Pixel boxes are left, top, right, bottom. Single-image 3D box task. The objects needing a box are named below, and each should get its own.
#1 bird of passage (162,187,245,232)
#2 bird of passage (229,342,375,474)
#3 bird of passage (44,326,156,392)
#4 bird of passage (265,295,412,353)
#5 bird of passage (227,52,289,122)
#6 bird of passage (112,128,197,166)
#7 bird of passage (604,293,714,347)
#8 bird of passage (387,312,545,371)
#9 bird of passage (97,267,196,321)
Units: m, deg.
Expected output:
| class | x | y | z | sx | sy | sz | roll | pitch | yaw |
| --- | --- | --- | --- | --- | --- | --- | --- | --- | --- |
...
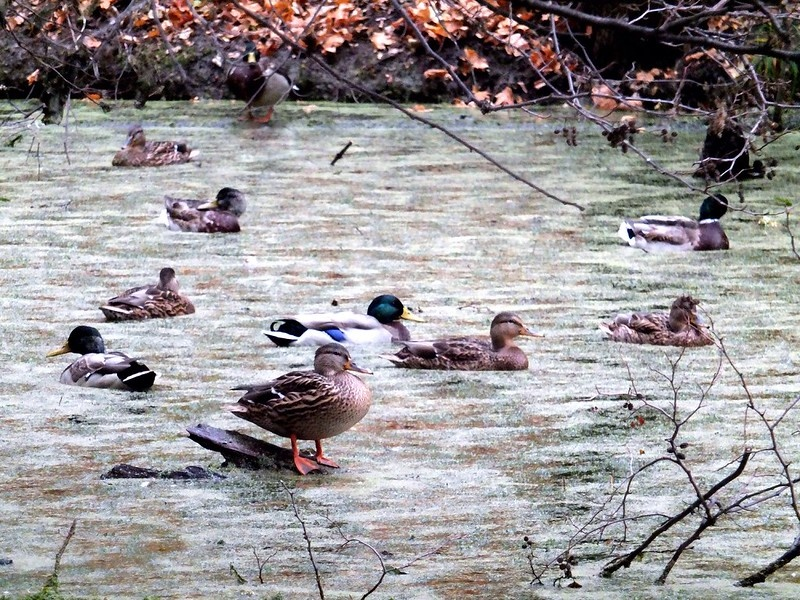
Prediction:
| class | x | y | z | sx | sy | sz | roll | pitch | yaw |
| --- | --- | --- | --- | --- | --- | --- | --- | --- | --- |
| bird of passage | -2.167 | -1.023 | 20.086 | 0.874 | 0.471 | 0.502 | 2 | 13 | -5 |
| bird of passage | -0.768 | 0.810 | 14.147 | 1.309 | 0.879 | 0.723 | -1 | 2 | 18 |
| bird of passage | -2.613 | 0.518 | 15.727 | 1.117 | 0.456 | 0.415 | 8 | 6 | 27 |
| bird of passage | -0.599 | 0.218 | 16.966 | 1.647 | 0.556 | 0.593 | 0 | 7 | -23 |
| bird of passage | -1.907 | -2.858 | 23.797 | 0.964 | 0.859 | 1.194 | -4 | 4 | 10 |
| bird of passage | -3.112 | -1.979 | 22.459 | 0.690 | 0.253 | 0.474 | -2 | -16 | 20 |
| bird of passage | 2.410 | 0.172 | 16.804 | 0.829 | 0.283 | 0.540 | 1 | 4 | 11 |
| bird of passage | 0.577 | 0.389 | 16.458 | 1.664 | 0.567 | 0.606 | 3 | 7 | 28 |
| bird of passage | -2.427 | -0.058 | 17.276 | 0.791 | 0.293 | 0.503 | -7 | 11 | -39 |
